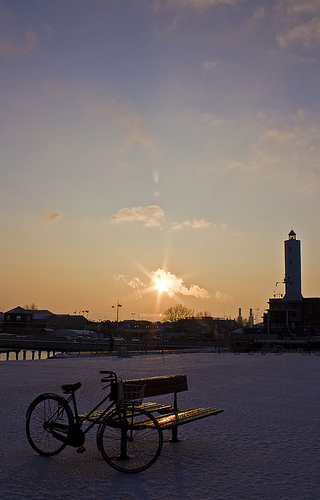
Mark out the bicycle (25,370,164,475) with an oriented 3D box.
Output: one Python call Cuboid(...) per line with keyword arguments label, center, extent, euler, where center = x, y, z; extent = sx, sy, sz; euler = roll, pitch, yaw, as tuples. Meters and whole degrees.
Cuboid(label="bicycle", center=(-0.988, 2.265, 6.716), extent=(2.160, 1.149, 0.890), euler=(-4, -24, 26))
